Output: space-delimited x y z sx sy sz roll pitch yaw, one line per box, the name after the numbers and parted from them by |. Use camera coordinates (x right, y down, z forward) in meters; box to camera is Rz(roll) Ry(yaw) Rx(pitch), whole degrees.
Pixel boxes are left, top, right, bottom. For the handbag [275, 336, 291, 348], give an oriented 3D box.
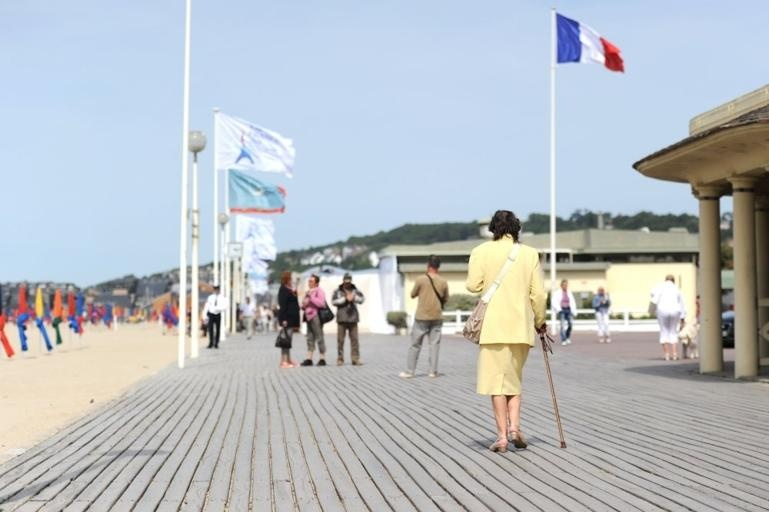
-2.421 2.013 25.494 0.316 0.334 0.404 0 -3 -12 | handbag

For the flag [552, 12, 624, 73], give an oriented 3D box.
6.581 -7.123 35.297 0.670 2.361 2.734 1 -3 -29 | flag

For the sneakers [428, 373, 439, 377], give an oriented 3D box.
1.054 2.556 23.280 0.108 0.143 0.138 5 4 -27 | sneakers

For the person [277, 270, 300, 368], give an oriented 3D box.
-2.307 1.491 25.823 0.509 2.309 0.973 -1 -3 -5 | person

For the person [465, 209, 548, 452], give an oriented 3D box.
1.859 1.104 16.398 1.149 3.676 0.429 -1 -3 5 | person

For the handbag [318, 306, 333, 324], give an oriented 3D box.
-1.338 1.371 25.450 0.429 0.374 0.390 -2 -3 22 | handbag

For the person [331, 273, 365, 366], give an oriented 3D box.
-0.897 1.497 25.766 0.700 2.219 1.284 -1 -3 -3 | person

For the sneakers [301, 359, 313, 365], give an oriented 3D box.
-1.937 2.554 25.958 0.347 0.151 0.120 3 3 34 | sneakers
